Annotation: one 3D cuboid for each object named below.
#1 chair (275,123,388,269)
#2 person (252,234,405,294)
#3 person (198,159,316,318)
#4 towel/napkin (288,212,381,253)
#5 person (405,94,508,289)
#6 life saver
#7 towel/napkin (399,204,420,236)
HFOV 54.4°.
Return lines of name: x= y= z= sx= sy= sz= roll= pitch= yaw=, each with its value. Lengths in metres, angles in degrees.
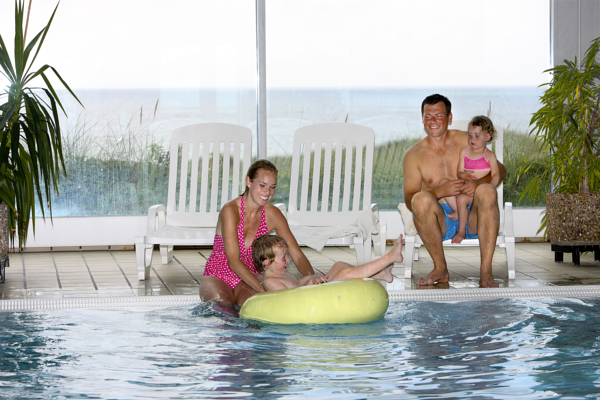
chair: x=0.344 y=-0.125 z=6.397 sx=1.378 sy=1.881 sz=1.407 roll=1 pitch=1 yaw=9
person: x=0.197 y=0.460 z=4.468 sx=1.040 sy=0.565 sz=0.466 roll=-4 pitch=8 yaw=1
person: x=-0.391 y=0.239 z=4.848 sx=0.902 sy=1.122 sz=1.139 roll=-5 pitch=12 yaw=-33
towel/napkin: x=0.374 y=0.283 z=5.817 sx=0.592 sy=0.219 sz=0.580 roll=-2 pitch=6 yaw=-5
person: x=1.333 y=-0.114 z=5.191 sx=0.847 sy=1.662 sz=0.824 roll=2 pitch=6 yaw=18
life saver: x=0.092 y=0.682 z=3.928 sx=1.006 sy=0.275 sz=0.225 roll=0 pitch=6 yaw=1
towel/napkin: x=1.153 y=0.203 z=6.209 sx=0.090 sy=0.293 sz=0.232 roll=-19 pitch=-15 yaw=27
